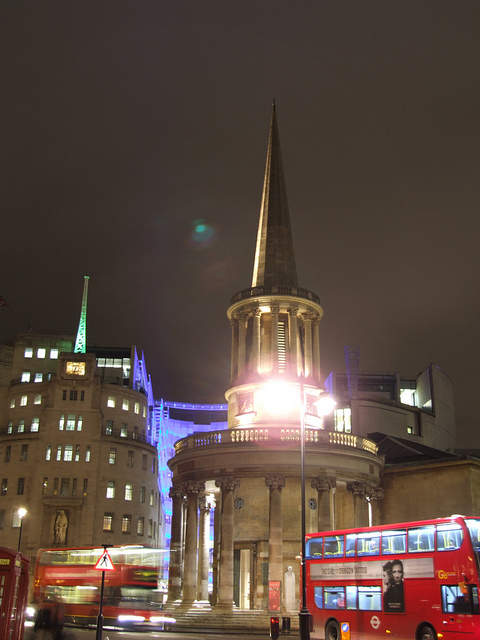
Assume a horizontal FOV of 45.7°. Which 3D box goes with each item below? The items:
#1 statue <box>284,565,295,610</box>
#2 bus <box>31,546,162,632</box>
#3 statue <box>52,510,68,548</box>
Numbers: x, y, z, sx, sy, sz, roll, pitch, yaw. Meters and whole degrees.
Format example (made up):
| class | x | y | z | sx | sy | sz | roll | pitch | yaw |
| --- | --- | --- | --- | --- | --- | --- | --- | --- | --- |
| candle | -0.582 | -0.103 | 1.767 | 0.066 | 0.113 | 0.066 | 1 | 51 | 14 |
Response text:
| class | x | y | z | sx | sy | sz | roll | pitch | yaw |
| --- | --- | --- | --- | --- | --- | --- | --- | --- | --- |
| statue | 3.332 | 17.762 | 37.858 | 0.677 | 2.601 | 0.395 | 1 | -21 | -1 |
| bus | -8.110 | 14.616 | 31.134 | 8.020 | 4.085 | 3.690 | -17 | -28 | 35 |
| statue | -25.527 | 29.717 | 81.665 | 1.602 | 4.855 | 1.697 | 7 | -23 | -16 |
